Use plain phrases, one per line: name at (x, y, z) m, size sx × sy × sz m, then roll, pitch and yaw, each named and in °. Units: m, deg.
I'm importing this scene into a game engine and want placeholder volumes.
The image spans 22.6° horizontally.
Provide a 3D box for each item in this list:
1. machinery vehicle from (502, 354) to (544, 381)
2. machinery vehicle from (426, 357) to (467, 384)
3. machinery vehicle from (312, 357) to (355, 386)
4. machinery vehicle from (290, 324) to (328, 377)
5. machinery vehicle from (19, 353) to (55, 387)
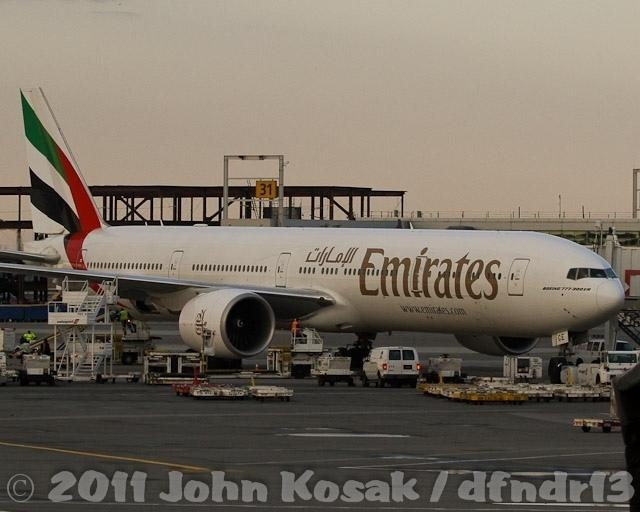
machinery vehicle at (5.650, 3.137, 44.173) m, size 1.010 × 0.524 × 0.916 m, roll 0°, pitch 0°, yaw 8°
machinery vehicle at (3.499, 3.159, 43.729) m, size 0.737 × 0.455 × 0.980 m, roll 1°, pitch 0°, yaw -6°
machinery vehicle at (0.317, 3.187, 43.953) m, size 0.883 × 0.564 × 0.990 m, roll 2°, pitch -7°, yaw -17°
machinery vehicle at (-0.411, 2.750, 45.614) m, size 1.116 × 1.148 × 1.437 m, roll 1°, pitch -5°, yaw -18°
machinery vehicle at (-7.600, 3.089, 42.926) m, size 0.676 × 0.589 × 1.074 m, roll 2°, pitch -7°, yaw -15°
